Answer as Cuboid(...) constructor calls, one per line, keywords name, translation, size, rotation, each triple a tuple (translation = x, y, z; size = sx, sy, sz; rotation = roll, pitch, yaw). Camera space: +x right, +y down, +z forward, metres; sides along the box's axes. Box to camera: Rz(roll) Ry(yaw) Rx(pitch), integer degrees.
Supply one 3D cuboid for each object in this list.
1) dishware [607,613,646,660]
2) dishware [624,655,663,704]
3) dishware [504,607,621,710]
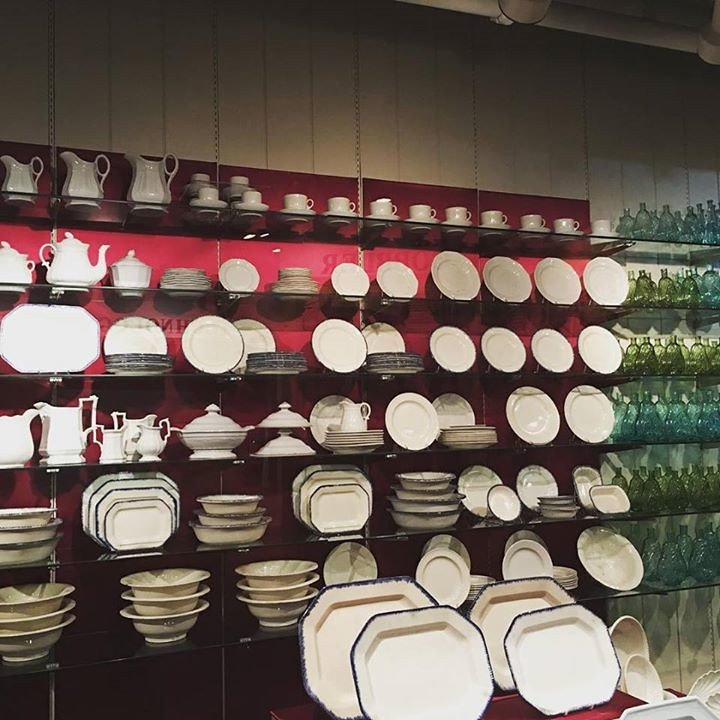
Cuboid(name="dishware", translation=(0.923, 0.961, 2.682), size=(0.157, 0.167, 0.040), rotation=(12, -4, -27))
Cuboid(name="dishware", translation=(0.940, 1.060, 2.521), size=(0.121, 0.138, 0.148), rotation=(-4, -5, 20))
Cuboid(name="dishware", translation=(0.559, 0.838, 2.099), size=(0.246, 0.299, 0.041), rotation=(-3, -26, -27))
